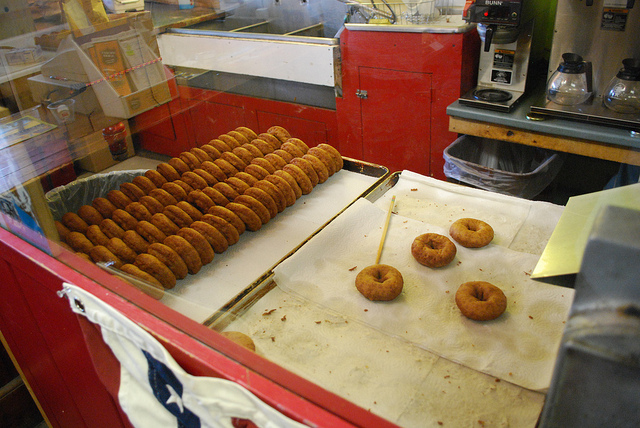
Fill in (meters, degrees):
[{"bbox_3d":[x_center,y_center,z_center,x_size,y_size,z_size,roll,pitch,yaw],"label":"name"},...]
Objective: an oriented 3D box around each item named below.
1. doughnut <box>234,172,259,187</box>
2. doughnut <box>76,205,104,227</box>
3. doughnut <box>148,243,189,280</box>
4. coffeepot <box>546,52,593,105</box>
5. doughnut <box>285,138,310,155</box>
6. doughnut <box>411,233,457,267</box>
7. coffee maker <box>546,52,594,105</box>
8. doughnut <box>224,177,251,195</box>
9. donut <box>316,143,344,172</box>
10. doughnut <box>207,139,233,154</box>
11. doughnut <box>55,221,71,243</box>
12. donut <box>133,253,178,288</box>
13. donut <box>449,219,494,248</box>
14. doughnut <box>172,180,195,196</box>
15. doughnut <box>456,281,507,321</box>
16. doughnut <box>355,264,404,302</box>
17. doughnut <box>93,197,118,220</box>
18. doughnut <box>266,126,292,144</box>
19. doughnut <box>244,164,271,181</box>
[{"bbox_3d":[-0.232,-0.113,1.342,0.050,0.025,0.049,26,8,-1],"label":"doughnut"},{"bbox_3d":[-0.604,0.006,1.116,0.058,0.028,0.044,44,50,0],"label":"doughnut"},{"bbox_3d":[-0.385,0.117,1.153,0.103,0.079,0.122,-1,68,8],"label":"doughnut"},{"bbox_3d":[0.822,-0.429,1.411,0.157,0.153,0.112,12,20,5],"label":"coffeepot"},{"bbox_3d":[-0.078,-0.244,1.506,0.060,0.062,0.018,29,74,31],"label":"doughnut"},{"bbox_3d":[0.268,0.081,1.020,0.077,0.047,0.107,-31,44,-30],"label":"doughnut"},{"bbox_3d":[0.805,-0.426,1.412,0.142,0.190,0.138,13,33,28],"label":"coffee maker"},{"bbox_3d":[-0.258,-0.086,1.320,0.058,0.027,0.057,38,15,17],"label":"doughnut"},{"bbox_3d":[0.047,-0.200,1.528,0.025,0.092,0.093,-25,45,-11],"label":"donut"},{"bbox_3d":[-0.322,-0.206,1.367,0.051,0.017,0.050,26,4,18],"label":"doughnut"},{"bbox_3d":[-0.642,0.046,1.063,0.014,0.041,0.042,-18,74,-37],"label":"doughnut"},{"bbox_3d":[-0.412,0.143,1.071,0.120,0.062,0.064,15,41,25],"label":"donut"},{"bbox_3d":[0.367,0.045,1.040,0.103,0.036,0.084,19,43,29],"label":"donut"},{"bbox_3d":[-0.398,-0.079,1.259,0.043,0.044,0.014,24,75,48],"label":"doughnut"},{"bbox_3d":[0.334,0.172,0.883,0.094,0.040,0.100,-11,37,-8],"label":"doughnut"},{"bbox_3d":[0.136,0.152,0.954,0.101,0.066,0.136,-2,24,1],"label":"doughnut"},{"bbox_3d":[-0.578,-0.018,1.142,0.060,0.019,0.043,45,51,9],"label":"doughnut"},{"bbox_3d":[-0.141,-0.277,1.485,0.044,0.055,0.073,23,45,33],"label":"doughnut"},{"bbox_3d":[-0.207,-0.135,1.370,0.055,0.026,0.054,29,9,6],"label":"doughnut"}]
